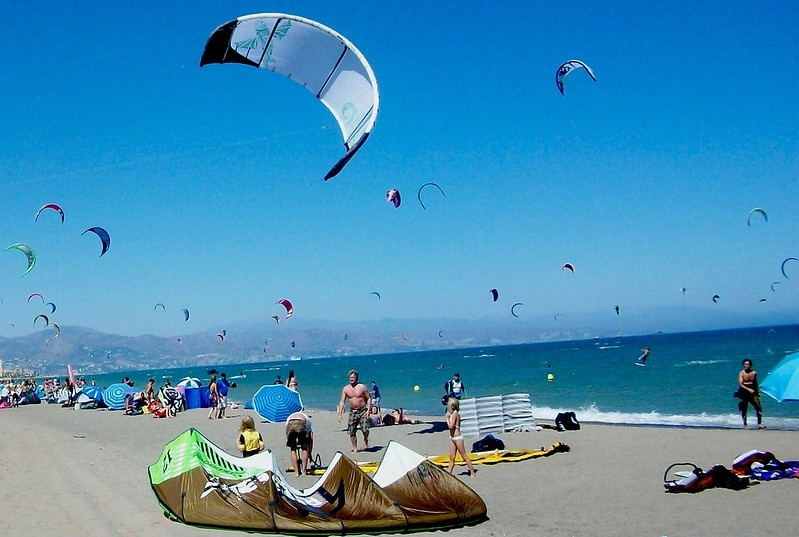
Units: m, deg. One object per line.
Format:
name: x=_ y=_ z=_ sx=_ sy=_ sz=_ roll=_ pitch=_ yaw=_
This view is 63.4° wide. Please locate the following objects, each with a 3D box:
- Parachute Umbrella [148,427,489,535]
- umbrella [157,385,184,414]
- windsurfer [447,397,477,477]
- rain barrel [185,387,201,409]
Parachute Umbrella: x=-1.561 y=3.938 z=12.134 sx=5.666 sy=1.777 sz=0.885 roll=1 pitch=-10 yaw=-5
umbrella: x=-9.417 y=5.405 z=27.032 sx=0.845 sy=1.218 sz=0.327 roll=3 pitch=5 yaw=33
windsurfer: x=1.426 y=3.605 z=14.387 sx=0.801 sy=1.779 sz=0.709 roll=2 pitch=1 yaw=-2
rain barrel: x=-9.280 y=5.697 z=29.094 sx=0.816 sy=0.778 sz=0.810 roll=-6 pitch=10 yaw=-41
